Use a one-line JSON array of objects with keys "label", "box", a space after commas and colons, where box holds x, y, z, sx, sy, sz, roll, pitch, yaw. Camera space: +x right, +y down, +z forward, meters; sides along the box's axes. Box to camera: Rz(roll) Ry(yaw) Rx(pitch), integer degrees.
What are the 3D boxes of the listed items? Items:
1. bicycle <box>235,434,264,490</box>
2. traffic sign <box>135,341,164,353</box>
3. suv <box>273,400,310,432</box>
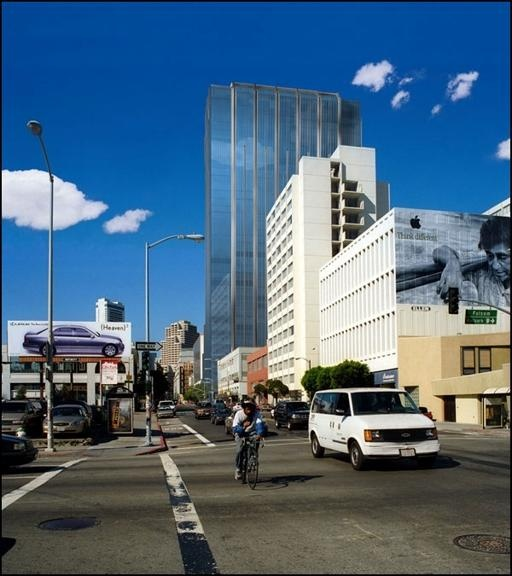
[{"label": "bicycle", "box": [-0.095, 3.134, 13.003, 0.385, 0.904, 1.110, -1, -5, -9]}, {"label": "traffic sign", "box": [-3.905, 2.145, 26.077, 0.909, 0.372, 1.045, -1, -6, -15]}, {"label": "suv", "box": [1.784, 5.940, 33.443, 0.866, 0.942, 1.975, 2, -10, -14]}]
